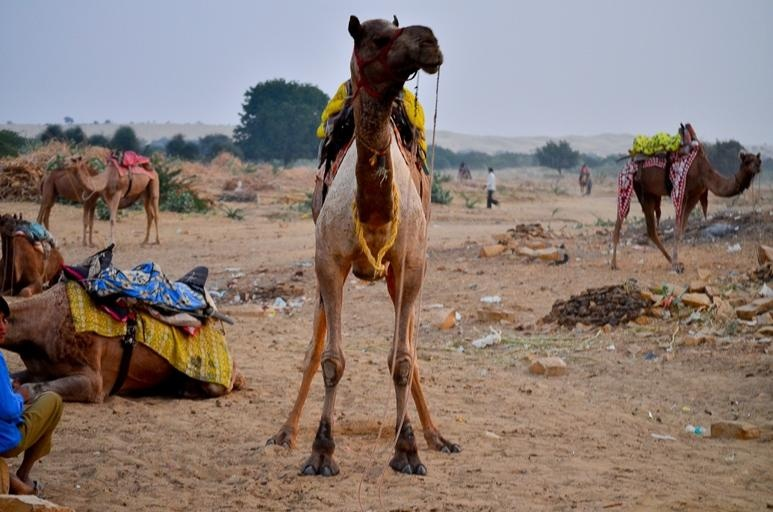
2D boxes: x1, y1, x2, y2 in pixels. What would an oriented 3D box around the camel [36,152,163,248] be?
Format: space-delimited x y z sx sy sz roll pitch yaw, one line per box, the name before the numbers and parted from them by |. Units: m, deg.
camel | -7.467 -1.368 24.192 4.535 2.902 1.909 0 -2 0
